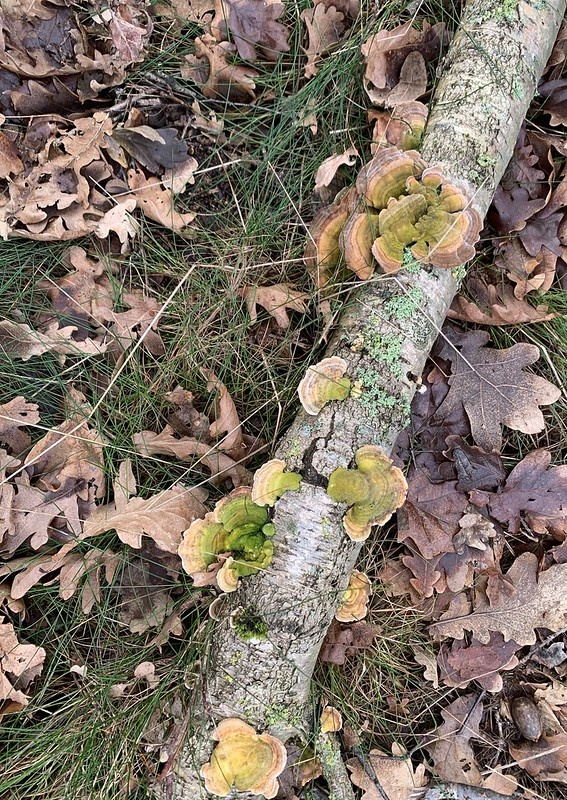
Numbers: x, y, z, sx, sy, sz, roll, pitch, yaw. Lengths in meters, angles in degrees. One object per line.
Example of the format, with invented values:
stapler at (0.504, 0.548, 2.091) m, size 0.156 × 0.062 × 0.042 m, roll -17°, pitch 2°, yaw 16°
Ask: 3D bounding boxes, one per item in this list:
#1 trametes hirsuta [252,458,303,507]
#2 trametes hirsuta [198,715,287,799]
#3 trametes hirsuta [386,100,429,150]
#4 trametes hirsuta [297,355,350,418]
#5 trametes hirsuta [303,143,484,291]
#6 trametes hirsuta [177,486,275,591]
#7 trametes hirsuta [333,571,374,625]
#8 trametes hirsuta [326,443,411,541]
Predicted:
trametes hirsuta at (-0.053, 0.382, 3.162) m, size 0.244 × 0.069 × 0.189 m, roll -31°, pitch 78°, yaw -8°
trametes hirsuta at (-0.184, 1.691, 3.175) m, size 0.360 × 0.104 × 0.341 m, roll 17°, pitch 76°, yaw 4°
trametes hirsuta at (0.650, -1.450, 3.545) m, size 0.262 × 0.089 × 0.281 m, roll 4°, pitch 94°, yaw 34°
trametes hirsuta at (0.190, -0.069, 3.197) m, size 0.243 × 0.063 × 0.251 m, roll 33°, pitch 91°, yaw 21°
trametes hirsuta at (0.516, -0.876, 3.296) m, size 0.828 × 0.243 × 0.670 m, roll -8°, pitch 81°, yaw 3°
trametes hirsuta at (-0.240, 0.683, 3.225) m, size 0.461 × 0.171 × 0.432 m, roll -9°, pitch 63°, yaw -5°
trametes hirsuta at (0.370, 1.032, 3.524) m, size 0.225 × 0.054 × 0.251 m, roll 4°, pitch 86°, yaw -21°
trametes hirsuta at (0.378, 0.441, 3.133) m, size 0.375 × 0.144 × 0.408 m, roll 32°, pitch 115°, yaw 35°
